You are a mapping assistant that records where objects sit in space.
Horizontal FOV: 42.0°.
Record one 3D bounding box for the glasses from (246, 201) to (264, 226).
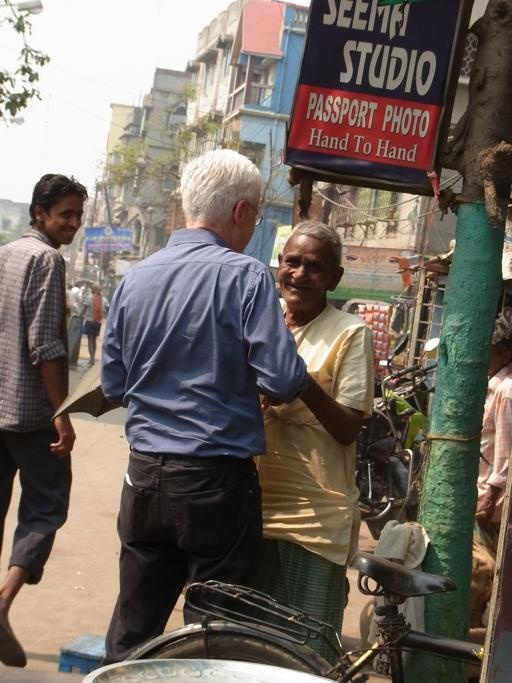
[{"bbox_3d":[0.000,-0.380,1.964,0.016,0.049,0.052,-1,4,-31],"label":"glasses"}]
